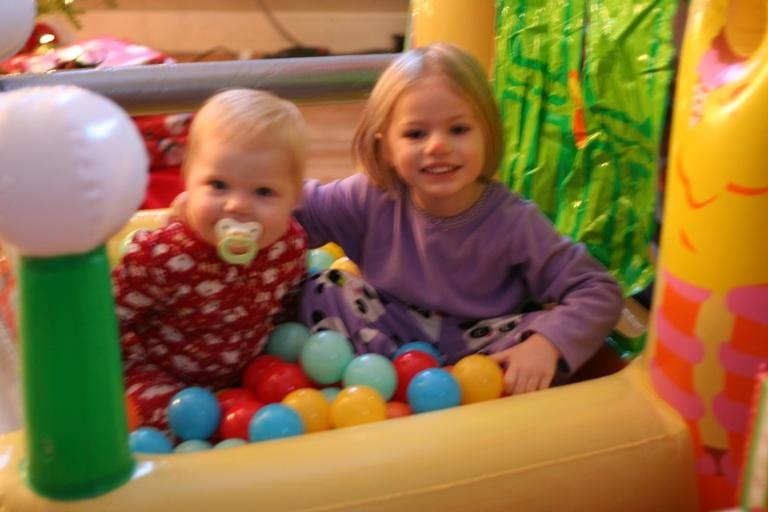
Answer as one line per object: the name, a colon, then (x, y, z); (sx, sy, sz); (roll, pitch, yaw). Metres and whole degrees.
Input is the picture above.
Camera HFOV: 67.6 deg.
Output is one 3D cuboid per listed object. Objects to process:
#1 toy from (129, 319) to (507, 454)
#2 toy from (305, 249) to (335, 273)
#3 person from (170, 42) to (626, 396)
toy: (-0.130, 0.223, 1.015); (0.600, 0.136, 0.347); (-13, 11, -21)
toy: (-0.156, 0.011, 1.389); (0.054, 0.049, 0.052); (-6, -3, 12)
person: (0.055, -0.053, 1.197); (0.860, 0.668, 0.492); (5, 13, 30)
